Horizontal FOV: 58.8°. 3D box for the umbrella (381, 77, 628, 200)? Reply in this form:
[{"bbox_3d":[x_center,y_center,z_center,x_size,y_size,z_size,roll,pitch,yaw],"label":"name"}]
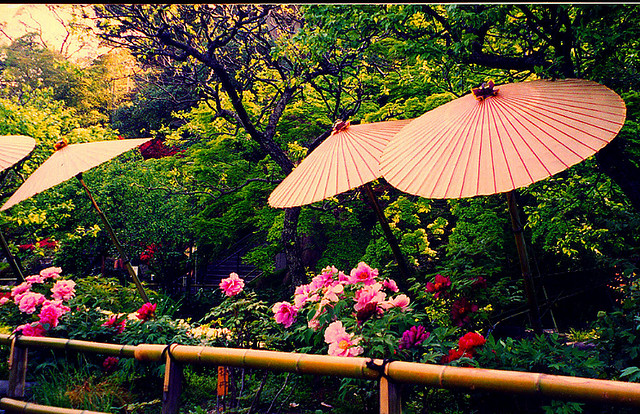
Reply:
[{"bbox_3d":[1.491,-0.650,4.994,1.977,0.664,1.850,1,-17,-21],"label":"umbrella"}]

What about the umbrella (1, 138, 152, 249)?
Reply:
[{"bbox_3d":[-2.937,-0.292,7.297,1.178,1.193,1.046,-23,-67,9],"label":"umbrella"}]
